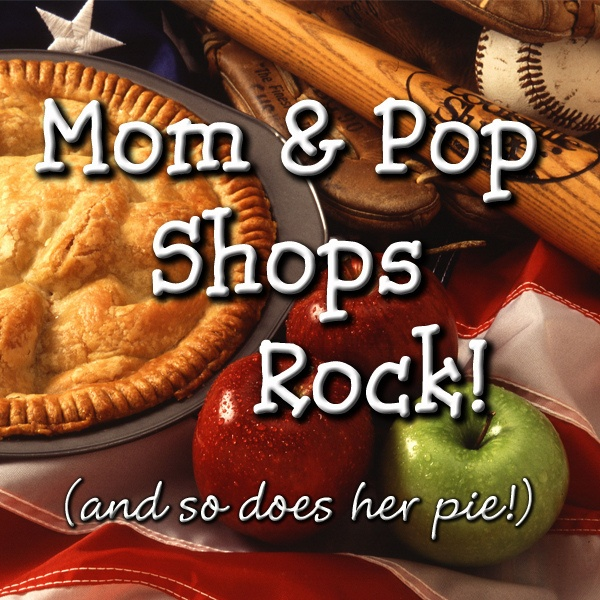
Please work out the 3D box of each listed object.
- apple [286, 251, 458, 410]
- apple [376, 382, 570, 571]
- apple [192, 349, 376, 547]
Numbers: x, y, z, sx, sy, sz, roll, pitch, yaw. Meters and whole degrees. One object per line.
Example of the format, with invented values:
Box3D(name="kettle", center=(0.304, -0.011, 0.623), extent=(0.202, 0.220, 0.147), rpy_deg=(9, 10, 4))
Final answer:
Box3D(name="apple", center=(0.094, 0.039, 1.030), extent=(0.200, 0.195, 0.181), rpy_deg=(-9, 99, -4))
Box3D(name="apple", center=(0.245, 0.232, 1.002), extent=(0.214, 0.202, 0.210), rpy_deg=(5, 46, 25))
Box3D(name="apple", center=(-0.045, 0.186, 1.001), extent=(0.251, 0.242, 0.227), rpy_deg=(11, 79, -21))
